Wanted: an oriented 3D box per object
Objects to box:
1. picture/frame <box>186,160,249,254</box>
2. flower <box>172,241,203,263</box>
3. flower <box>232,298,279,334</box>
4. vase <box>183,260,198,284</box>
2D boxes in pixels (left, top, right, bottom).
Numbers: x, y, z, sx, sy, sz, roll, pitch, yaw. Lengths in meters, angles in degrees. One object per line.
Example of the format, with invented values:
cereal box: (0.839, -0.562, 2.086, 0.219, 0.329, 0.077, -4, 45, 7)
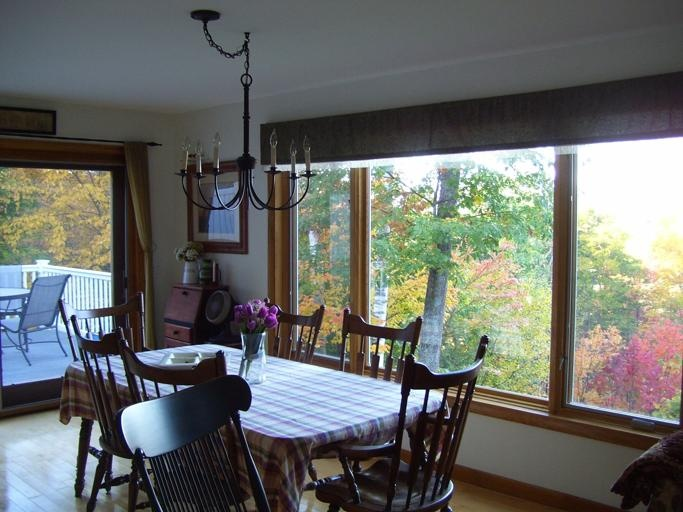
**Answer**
picture/frame: (-1.103, -0.443, 4.916, 0.880, 1.094, 0.085, 1, 0, 41)
flower: (-1.524, -0.053, 5.401, 0.204, 0.164, 0.218, -5, 8, 11)
flower: (-0.496, 0.321, 3.176, 0.224, 0.236, 0.214, 3, 0, -14)
vase: (-1.479, 0.149, 5.361, 0.147, 0.224, 0.231, 2, 5, -17)
